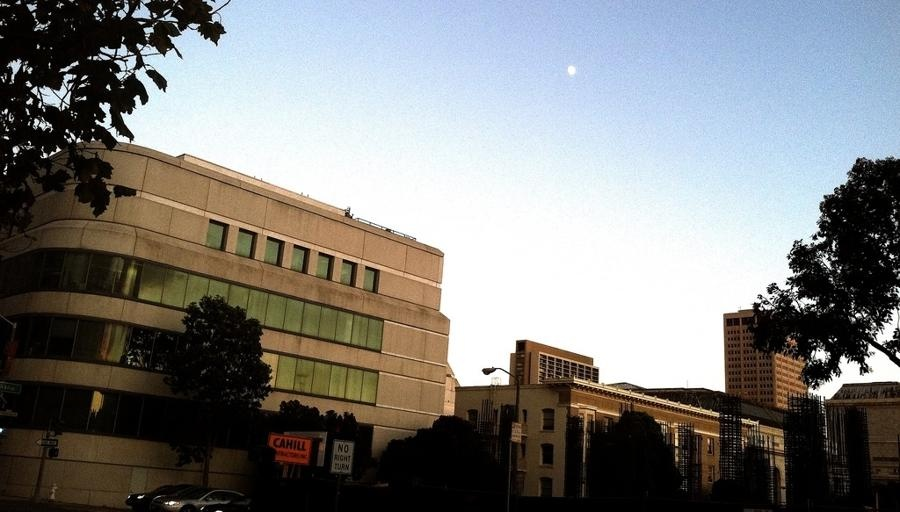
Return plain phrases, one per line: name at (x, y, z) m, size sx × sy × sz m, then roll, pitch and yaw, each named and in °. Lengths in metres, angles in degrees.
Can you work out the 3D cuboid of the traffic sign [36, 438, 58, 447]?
traffic sign at (-29.024, 13.230, 59.992) m, size 2.011 × 0.494 × 1.170 m, roll -2°, pitch -4°, yaw 42°
